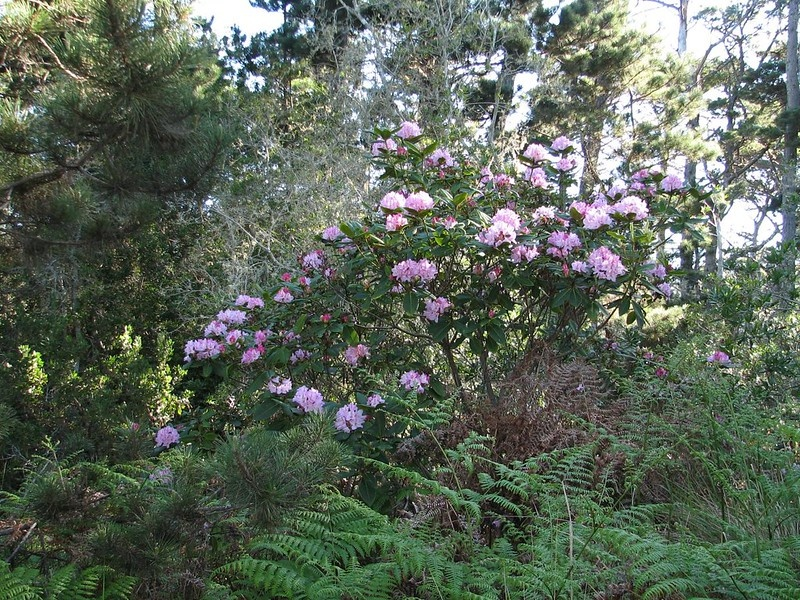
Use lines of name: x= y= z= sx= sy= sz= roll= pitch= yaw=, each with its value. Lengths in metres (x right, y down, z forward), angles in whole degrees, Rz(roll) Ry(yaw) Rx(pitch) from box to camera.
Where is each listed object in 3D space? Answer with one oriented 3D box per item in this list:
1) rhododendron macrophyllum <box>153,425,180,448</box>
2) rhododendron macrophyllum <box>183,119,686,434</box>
rhododendron macrophyllum: x=-1.707 y=0.987 z=4.735 sx=0.165 sy=0.127 sz=0.323 roll=13 pitch=-10 yaw=3
rhododendron macrophyllum: x=0.380 y=-0.195 z=5.328 sx=2.915 sy=2.671 sz=2.920 roll=-19 pitch=11 yaw=-32
